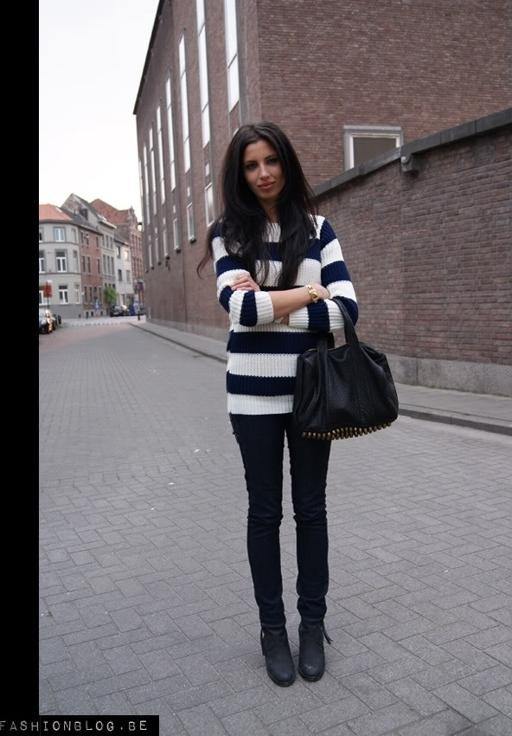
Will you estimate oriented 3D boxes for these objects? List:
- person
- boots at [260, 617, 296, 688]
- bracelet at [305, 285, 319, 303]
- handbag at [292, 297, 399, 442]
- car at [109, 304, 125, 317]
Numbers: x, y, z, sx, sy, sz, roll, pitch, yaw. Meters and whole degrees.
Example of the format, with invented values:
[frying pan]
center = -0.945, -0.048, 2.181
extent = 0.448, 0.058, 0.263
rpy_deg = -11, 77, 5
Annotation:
[person]
center = 0.109, 0.101, 1.979
extent = 0.478, 1.932, 0.408
rpy_deg = -2, 3, -18
[boots]
center = 0.080, 0.983, 1.904
extent = 0.063, 0.083, 0.199
rpy_deg = -3, 6, -8
[bracelet]
center = 0.188, -0.243, 1.819
extent = 0.034, 0.054, 0.055
rpy_deg = -20, 51, -17
[handbag]
center = 0.292, 0.038, 1.814
extent = 0.367, 0.352, 0.109
rpy_deg = -3, 3, -28
[car]
center = -20.543, -8.384, 82.204
extent = 1.805, 1.102, 2.660
rpy_deg = 5, 10, 2
